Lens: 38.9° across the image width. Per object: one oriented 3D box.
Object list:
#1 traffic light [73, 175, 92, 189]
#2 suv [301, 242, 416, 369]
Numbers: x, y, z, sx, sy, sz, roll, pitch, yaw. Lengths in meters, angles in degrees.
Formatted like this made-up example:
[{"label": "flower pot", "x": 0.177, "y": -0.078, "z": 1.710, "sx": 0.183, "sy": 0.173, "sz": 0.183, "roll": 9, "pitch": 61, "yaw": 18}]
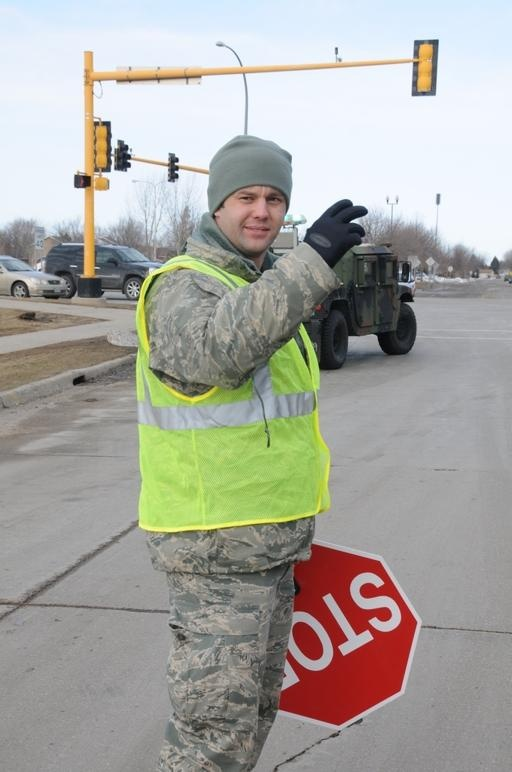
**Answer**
[{"label": "traffic light", "x": -5.277, "y": -6.153, "z": 21.832, "sx": 0.319, "sy": 0.500, "sz": 0.662, "roll": 3, "pitch": 7, "yaw": 30}, {"label": "suv", "x": 1.538, "y": -1.611, "z": 14.136, "sx": 2.191, "sy": 1.924, "sz": 3.208, "roll": 6, "pitch": 16, "yaw": 33}]
